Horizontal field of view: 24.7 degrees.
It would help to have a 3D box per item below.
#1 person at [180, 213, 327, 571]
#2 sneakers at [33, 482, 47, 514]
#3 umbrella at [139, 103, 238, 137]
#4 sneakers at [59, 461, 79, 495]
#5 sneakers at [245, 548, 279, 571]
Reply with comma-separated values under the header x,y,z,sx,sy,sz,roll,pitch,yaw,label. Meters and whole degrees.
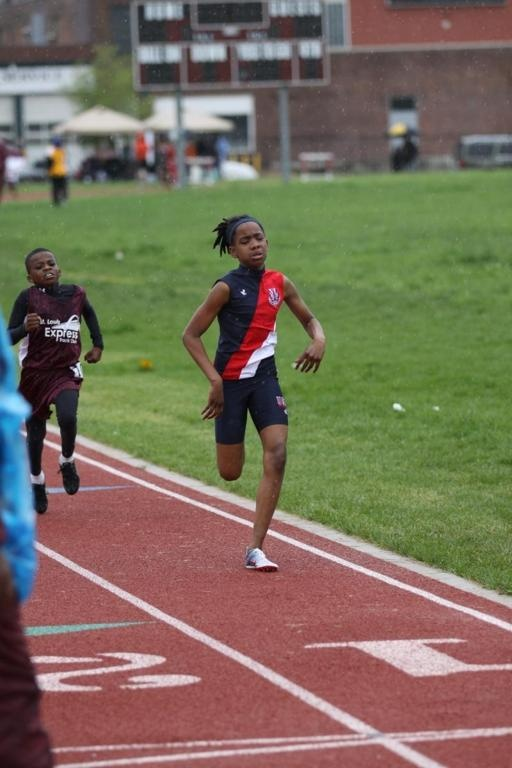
x,y,z,sx,sy,sz,roll,pitch,yaw,label
-0.010,0.030,5.858,0.703,1.767,0.728,0,5,2,person
-1.277,0.673,6.932,0.069,0.199,0.084,-5,24,-5,sneakers
-0.912,-3.408,15.188,0.519,0.394,1.289,-5,8,-43,umbrella
-1.112,0.559,7.019,0.117,0.244,0.101,-11,14,-10,sneakers
0.032,0.852,5.725,0.163,0.128,0.139,0,6,-4,sneakers
